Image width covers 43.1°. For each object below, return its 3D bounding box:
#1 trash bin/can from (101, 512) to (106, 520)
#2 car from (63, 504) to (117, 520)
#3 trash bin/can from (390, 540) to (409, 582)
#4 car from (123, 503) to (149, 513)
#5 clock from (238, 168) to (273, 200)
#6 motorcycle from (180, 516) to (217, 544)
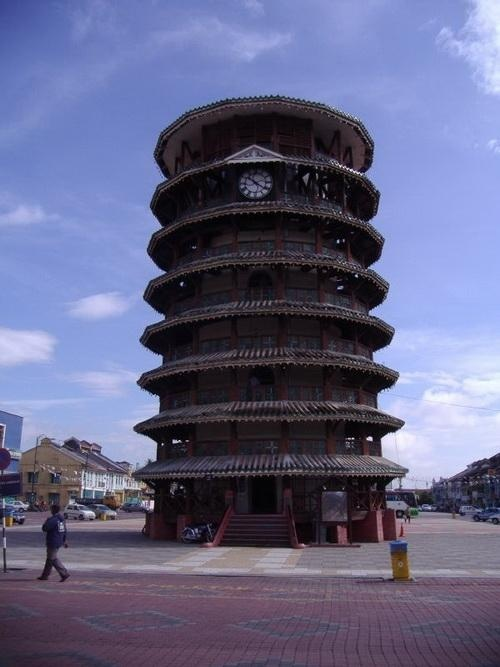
[{"bbox_3d":[-15.900,20.082,69.580,0.777,0.629,0.707,2,-8,-9],"label":"trash bin/can"},{"bbox_3d":[-17.394,19.654,69.748,4.124,1.767,4.870,-8,-15,24],"label":"car"},{"bbox_3d":[3.946,6.036,16.831,0.448,0.965,0.958,-4,-15,10],"label":"trash bin/can"},{"bbox_3d":[-17.674,27.147,98.443,2.969,1.385,5.415,4,-14,-20],"label":"car"},{"bbox_3d":[0.314,-8.270,35.178,2.138,1.832,0.147,-1,-2,3],"label":"clock"},{"bbox_3d":[-2.305,9.313,29.689,1.913,1.001,0.852,-14,-26,32],"label":"motorcycle"}]
